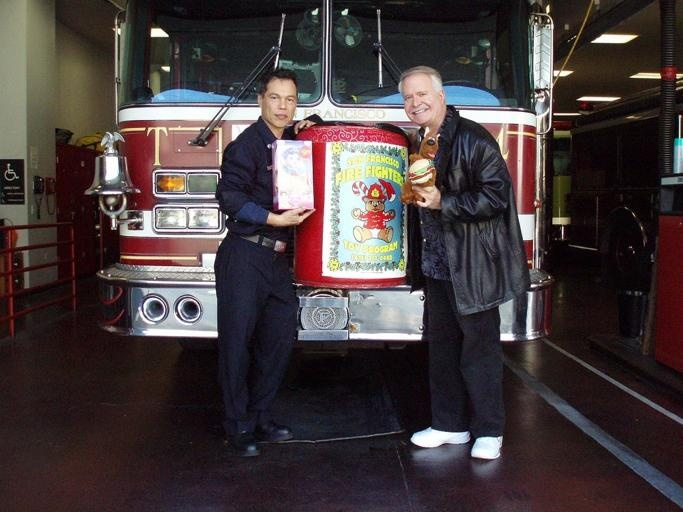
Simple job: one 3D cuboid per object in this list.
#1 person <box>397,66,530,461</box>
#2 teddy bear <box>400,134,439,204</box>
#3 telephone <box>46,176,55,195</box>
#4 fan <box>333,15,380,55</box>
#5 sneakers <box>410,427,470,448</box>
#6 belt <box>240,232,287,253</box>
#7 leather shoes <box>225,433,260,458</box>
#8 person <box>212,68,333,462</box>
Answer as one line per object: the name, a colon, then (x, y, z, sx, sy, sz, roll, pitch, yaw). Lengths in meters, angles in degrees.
person: (0.789, 0.075, 3.493, 0.831, 2.516, 0.596, -1, 6, -12)
teddy bear: (0.453, -0.495, 3.082, 0.198, 0.387, 0.208, 1, 6, 8)
telephone: (-5.399, -1.297, 9.820, 0.066, 0.252, 0.271, 4, 0, 22)
fan: (0.120, -1.680, 4.008, 0.361, 0.239, 0.125, 20, 18, 1)
sneakers: (0.688, 1.266, 3.720, 0.395, 0.154, 0.140, 2, 7, -9)
belt: (-0.482, -0.081, 3.492, 0.163, 0.042, 0.152, 20, 3, 39)
leather shoes: (-0.641, 1.250, 3.474, 0.254, 0.108, 0.094, -6, -6, 44)
person: (-0.515, 0.049, 3.536, 0.615, 2.509, 0.512, -2, 7, -21)
